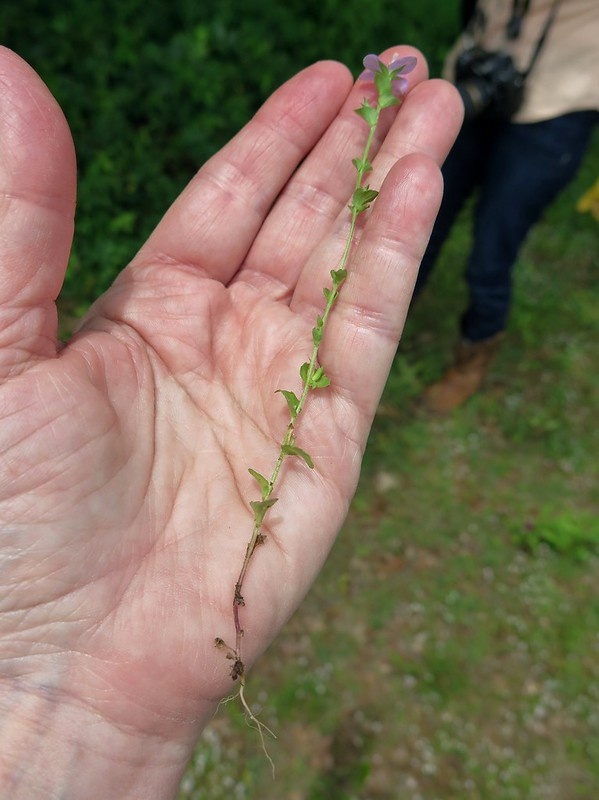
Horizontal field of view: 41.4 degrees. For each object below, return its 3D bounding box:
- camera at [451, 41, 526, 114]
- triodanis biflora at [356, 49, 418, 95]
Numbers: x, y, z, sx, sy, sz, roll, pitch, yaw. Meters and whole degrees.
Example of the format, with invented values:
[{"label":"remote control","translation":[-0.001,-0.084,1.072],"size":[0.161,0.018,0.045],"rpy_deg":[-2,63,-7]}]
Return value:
[{"label":"camera","translation":[0.695,-1.217,2.930],"size":[0.084,0.230,0.284],"rpy_deg":[-33,97,-46]},{"label":"triodanis biflora","translation":[0.299,-1.123,2.682],"size":[0.140,0.175,0.138],"rpy_deg":[-10,36,-15]}]
